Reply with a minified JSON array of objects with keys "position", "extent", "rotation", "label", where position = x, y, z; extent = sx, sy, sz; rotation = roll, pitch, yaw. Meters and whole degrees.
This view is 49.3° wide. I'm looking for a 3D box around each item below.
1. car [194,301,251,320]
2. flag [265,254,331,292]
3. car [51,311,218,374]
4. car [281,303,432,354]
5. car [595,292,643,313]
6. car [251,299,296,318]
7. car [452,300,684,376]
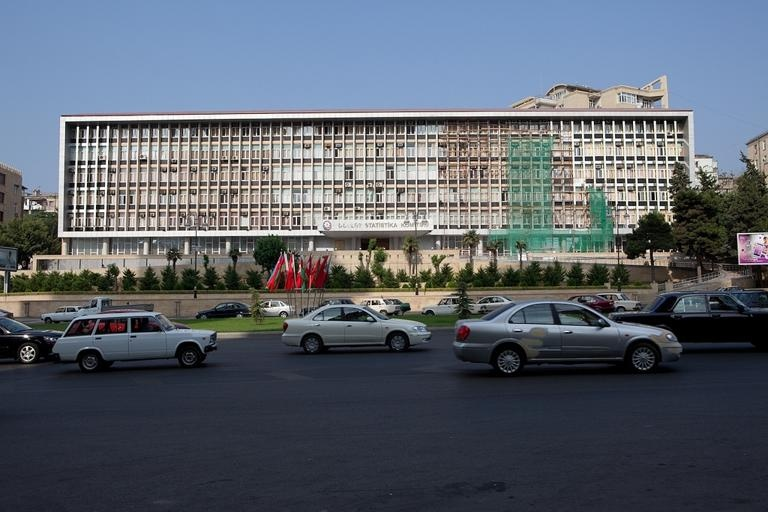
[{"position":[-11.564,3.736,59.574],"extent":[3.786,1.160,1.563],"rotation":[1,-6,-4],"label":"car"},{"position":[-6.790,1.418,65.304],"extent":[4.304,3.218,0.732],"rotation":[3,-47,17],"label":"flag"},{"position":[-8.647,3.063,29.363],"extent":[4.963,1.671,2.213],"rotation":[-2,-2,-7],"label":"car"},{"position":[-1.105,2.825,31.555],"extent":[5.153,1.522,2.160],"rotation":[-2,-3,3],"label":"car"},{"position":[15.206,3.297,54.315],"extent":[3.069,1.241,1.801],"rotation":[-2,-1,7],"label":"car"},{"position":[-7.509,3.645,57.994],"extent":[2.283,0.725,1.185],"rotation":[3,-3,2],"label":"car"},{"position":[5.454,2.713,26.033],"extent":[6.592,2.023,2.576],"rotation":[-2,-3,0],"label":"car"}]
